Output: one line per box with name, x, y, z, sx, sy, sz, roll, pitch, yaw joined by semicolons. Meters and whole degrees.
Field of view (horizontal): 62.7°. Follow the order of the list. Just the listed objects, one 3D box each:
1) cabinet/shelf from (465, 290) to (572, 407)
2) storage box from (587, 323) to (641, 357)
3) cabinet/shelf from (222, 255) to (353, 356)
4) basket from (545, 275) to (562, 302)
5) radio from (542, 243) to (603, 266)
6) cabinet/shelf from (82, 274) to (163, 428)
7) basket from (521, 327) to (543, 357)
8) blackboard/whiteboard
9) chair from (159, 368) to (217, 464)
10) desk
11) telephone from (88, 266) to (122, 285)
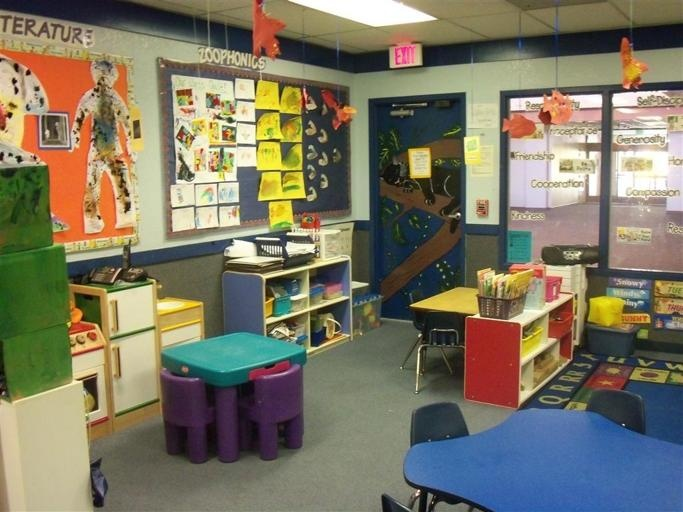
cabinet/shelf;1.812;0.864;5.552;0.617;0.756;1.509;3;8;41
storage box;3.034;0.962;6.354;0.493;0.308;0.365;1;-1;36
cabinet/shelf;-0.614;0.524;5.956;0.377;0.732;1.089;1;4;29
basket;2.124;0.333;5.651;0.212;0.152;0.292;2;7;28
radio;2.613;-0.007;6.360;0.656;0.208;0.243;-1;11;-2
cabinet/shelf;-1.632;0.840;4.871;0.652;1.243;0.558;-14;-10;23
basket;1.739;0.793;5.155;0.190;0.095;0.285;1;12;40
blackboard/whiteboard;-0.881;-1.164;6.158;3.416;2.004;0.039;9;12;39
chair;-1.177;1.214;4.275;0.415;0.660;0.190;5;12;30
desk;-0.878;1.184;4.607;1.091;0.723;1.112;-1;0;16
telephone;-1.959;0.167;4.655;0.274;0.122;0.235;-5;11;-21
